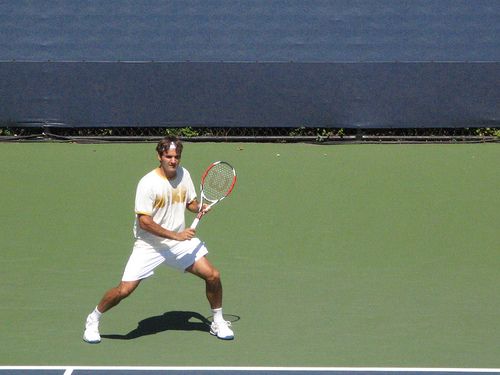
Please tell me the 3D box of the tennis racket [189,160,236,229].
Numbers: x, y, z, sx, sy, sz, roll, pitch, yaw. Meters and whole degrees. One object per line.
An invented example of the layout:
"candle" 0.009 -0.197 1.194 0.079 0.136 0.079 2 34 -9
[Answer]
"tennis racket" -0.415 -0.009 10.920 0.320 1.150 0.086 29 -26 -7
